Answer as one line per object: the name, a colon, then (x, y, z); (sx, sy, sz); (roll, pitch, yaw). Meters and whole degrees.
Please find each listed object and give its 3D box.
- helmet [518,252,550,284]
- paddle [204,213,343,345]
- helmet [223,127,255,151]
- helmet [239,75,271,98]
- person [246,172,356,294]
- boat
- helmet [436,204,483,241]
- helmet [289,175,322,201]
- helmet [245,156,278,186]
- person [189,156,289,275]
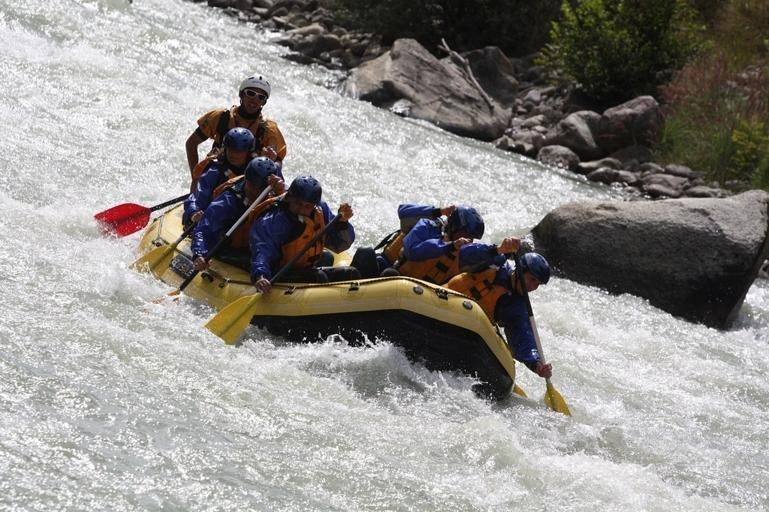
helmet: (1.788, 0.111, 13.569); (0.398, 0.323, 0.303); (49, 6, 9)
paddle: (-1.337, 0.310, 13.290); (0.341, 1.739, 0.068); (50, -24, -6)
helmet: (-1.792, -1.436, 13.917); (0.246, 0.212, 0.342); (13, -23, -4)
helmet: (-1.652, -2.172, 14.529); (0.363, 0.296, 0.245); (22, 13, -13)
person: (-1.051, -0.217, 13.571); (0.822, 1.028, 1.189); (33, 38, 31)
boat: (-0.616, 0.627, 13.546); (3.927, 1.064, 2.300); (22, -9, 21)
helmet: (0.923, -0.406, 13.542); (0.436, 0.415, 0.352); (25, 0, 4)
helmet: (-0.906, -0.780, 13.337); (0.335, 0.280, 0.259); (4, 31, 33)
helmet: (-1.502, -1.028, 13.745); (0.369, 0.283, 0.346); (-15, -12, -20)
person: (-1.748, -0.432, 13.620); (0.485, 1.487, 0.993); (47, 11, 36)
